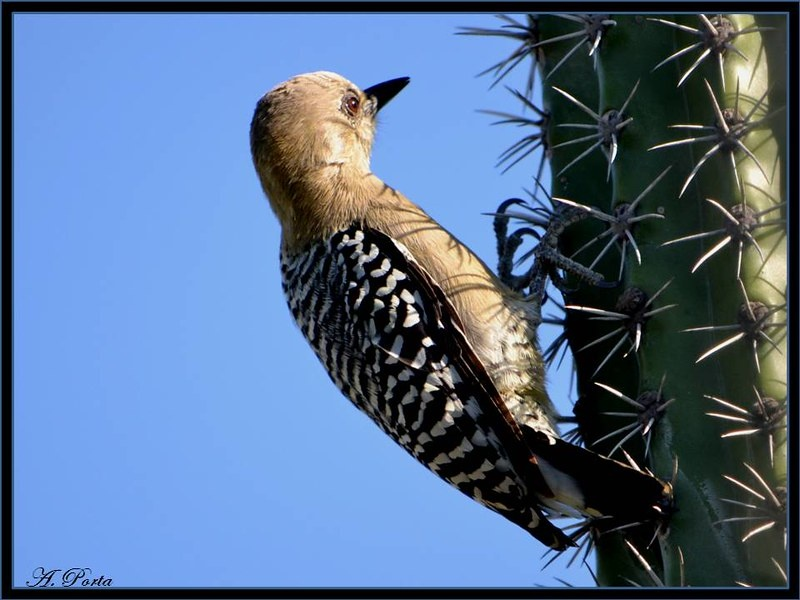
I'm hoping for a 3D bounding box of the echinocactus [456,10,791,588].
[{"bbox_3d":[1.207,-0.164,8.357,1.137,2.541,2.041,1,-48,-7],"label":"echinocactus"}]
